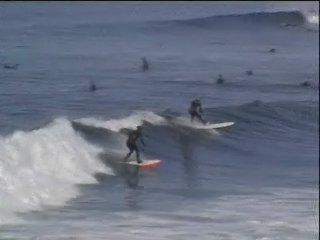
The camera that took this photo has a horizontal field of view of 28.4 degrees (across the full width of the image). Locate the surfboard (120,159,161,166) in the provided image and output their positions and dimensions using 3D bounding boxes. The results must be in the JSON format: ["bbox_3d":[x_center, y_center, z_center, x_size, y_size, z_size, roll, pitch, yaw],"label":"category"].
[{"bbox_3d":[-1.277,3.109,44.342,2.933,0.348,0.662,1,27,-19],"label":"surfboard"}]
